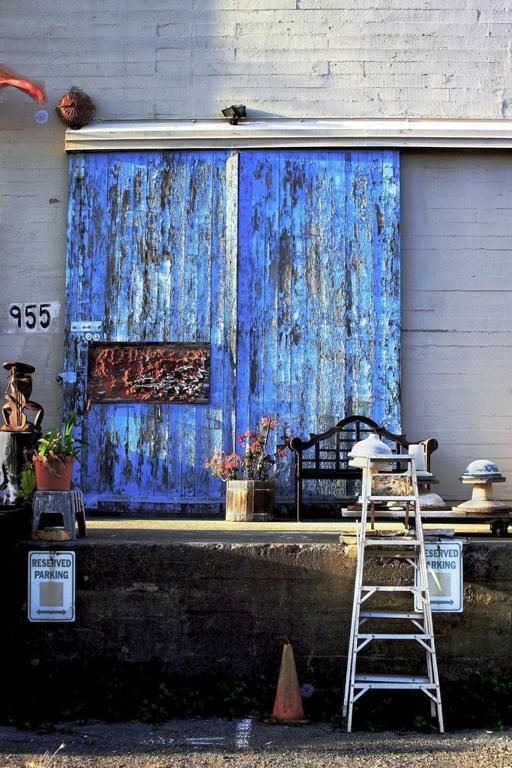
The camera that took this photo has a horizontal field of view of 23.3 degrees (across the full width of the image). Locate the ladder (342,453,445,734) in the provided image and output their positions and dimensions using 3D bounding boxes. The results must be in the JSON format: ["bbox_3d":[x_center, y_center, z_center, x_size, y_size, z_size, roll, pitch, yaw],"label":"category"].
[{"bbox_3d":[0.812,1.178,7.383,0.551,1.748,0.544,0,-4,1],"label":"ladder"}]

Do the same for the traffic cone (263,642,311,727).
[{"bbox_3d":[0.206,1.775,7.306,0.226,0.359,0.212,3,1,-10],"label":"traffic cone"}]

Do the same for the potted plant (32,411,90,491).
[{"bbox_3d":[-1.266,0.471,8.011,0.303,0.649,0.321,0,3,1],"label":"potted plant"}]

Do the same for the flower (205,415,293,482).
[{"bbox_3d":[-0.034,0.551,9.735,0.510,0.429,0.542,-7,-5,29],"label":"flower"}]

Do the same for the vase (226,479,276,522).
[{"bbox_3d":[-0.040,0.883,9.308,0.284,0.256,0.312,1,-5,-2],"label":"vase"}]

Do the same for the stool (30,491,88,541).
[{"bbox_3d":[-1.241,0.815,7.859,0.272,0.303,0.298,-1,-4,3],"label":"stool"}]
